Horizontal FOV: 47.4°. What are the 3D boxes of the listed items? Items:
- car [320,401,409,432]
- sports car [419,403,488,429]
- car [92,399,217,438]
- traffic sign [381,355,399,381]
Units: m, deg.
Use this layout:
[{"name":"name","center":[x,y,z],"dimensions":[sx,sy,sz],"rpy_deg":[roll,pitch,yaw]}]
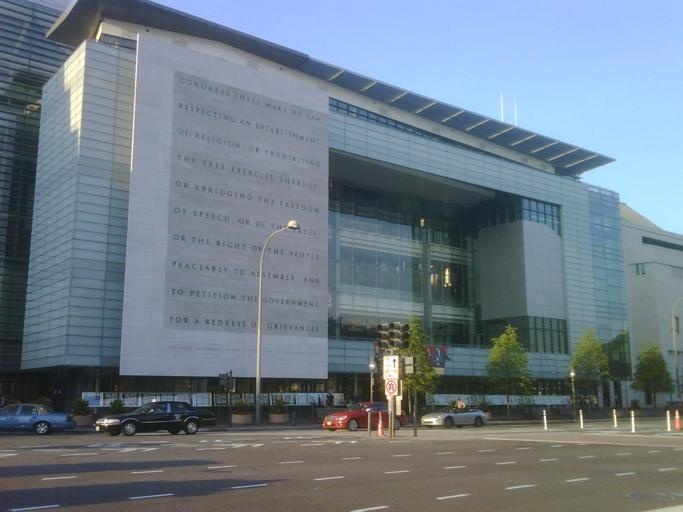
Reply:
[{"name":"car","center":[1.386,10.290,50.174],"dimensions":[5.075,1.872,2.261],"rpy_deg":[1,-15,-12]},{"name":"sports car","center":[8.012,11.559,55.934],"dimensions":[5.096,1.516,1.442],"rpy_deg":[8,-18,-35]},{"name":"car","center":[-10.524,9.264,44.529],"dimensions":[5.954,1.919,1.148],"rpy_deg":[5,-16,-26]},{"name":"traffic sign","center":[2.728,6.063,42.717],"dimensions":[1.150,1.440,0.508],"rpy_deg":[-13,-17,37]}]
